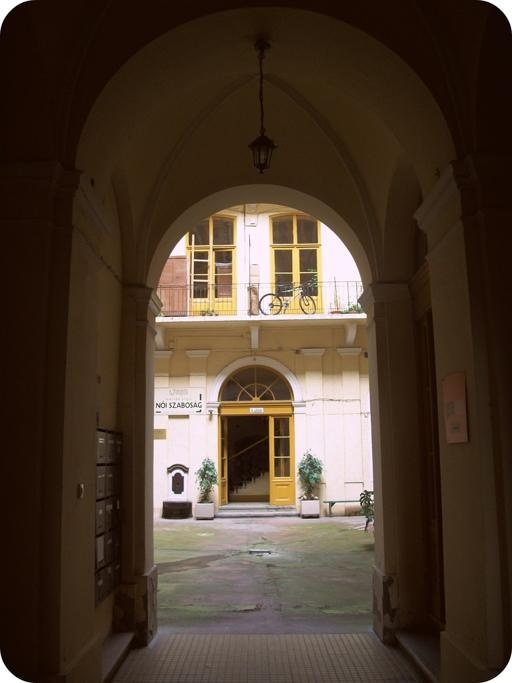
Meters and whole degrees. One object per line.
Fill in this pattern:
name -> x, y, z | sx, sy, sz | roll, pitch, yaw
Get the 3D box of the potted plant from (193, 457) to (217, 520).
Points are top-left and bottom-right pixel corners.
potted plant -> -1.312, 3.917, 14.657 | 0.432, 1.487, 0.475 | -1, -16, 14

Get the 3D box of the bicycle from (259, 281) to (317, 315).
bicycle -> 0.919, -1.364, 16.329 | 1.574, 1.317, 0.840 | -2, -5, 0

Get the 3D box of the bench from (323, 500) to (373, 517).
bench -> 2.297, 4.235, 14.113 | 1.058, 0.516, 1.715 | -2, -11, 0

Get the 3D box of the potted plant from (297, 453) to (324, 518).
potted plant -> 1.429, 3.759, 14.598 | 0.646, 1.697, 0.529 | -2, -8, 8
